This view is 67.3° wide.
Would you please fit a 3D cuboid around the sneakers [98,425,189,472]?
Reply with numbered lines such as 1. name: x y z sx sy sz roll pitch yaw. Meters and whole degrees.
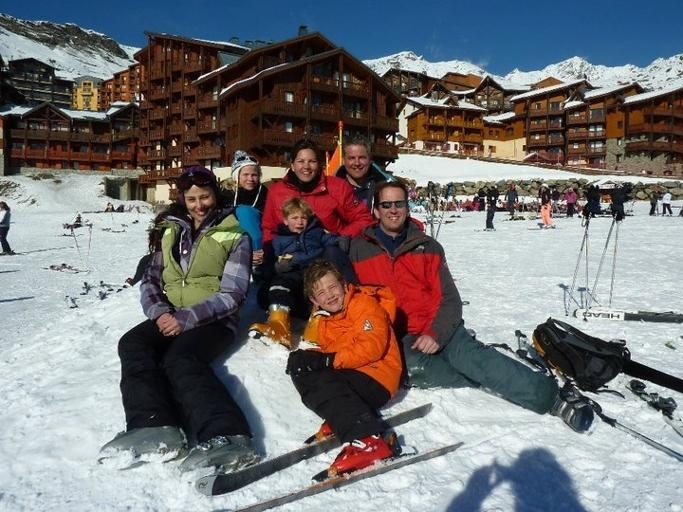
1. sneakers: -1.429 1.379 3.707 0.615 0.266 0.110 -2 9 -13

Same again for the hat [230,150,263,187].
1. hat: -1.302 -1.226 6.998 0.371 0.359 0.475 0 26 -33

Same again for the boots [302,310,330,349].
1. boots: -0.258 0.658 4.618 0.159 0.344 0.342 -9 12 -44

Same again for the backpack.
1. backpack: 2.258 0.908 4.963 0.602 0.322 0.758 -3 26 -47

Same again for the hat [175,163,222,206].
1. hat: -1.350 -0.681 4.873 0.312 0.242 0.429 -20 -21 -8

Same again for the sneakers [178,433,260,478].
1. sneakers: -0.859 1.375 3.622 0.374 0.139 0.249 -5 4 -24

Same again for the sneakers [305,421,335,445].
1. sneakers: -0.160 1.374 3.951 0.198 0.074 0.140 -12 18 -23
